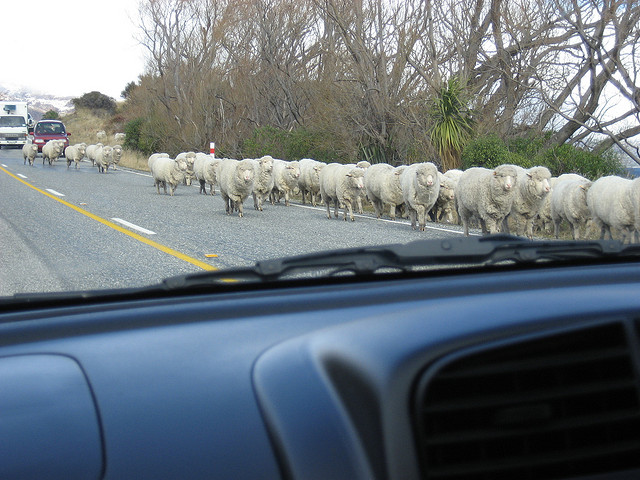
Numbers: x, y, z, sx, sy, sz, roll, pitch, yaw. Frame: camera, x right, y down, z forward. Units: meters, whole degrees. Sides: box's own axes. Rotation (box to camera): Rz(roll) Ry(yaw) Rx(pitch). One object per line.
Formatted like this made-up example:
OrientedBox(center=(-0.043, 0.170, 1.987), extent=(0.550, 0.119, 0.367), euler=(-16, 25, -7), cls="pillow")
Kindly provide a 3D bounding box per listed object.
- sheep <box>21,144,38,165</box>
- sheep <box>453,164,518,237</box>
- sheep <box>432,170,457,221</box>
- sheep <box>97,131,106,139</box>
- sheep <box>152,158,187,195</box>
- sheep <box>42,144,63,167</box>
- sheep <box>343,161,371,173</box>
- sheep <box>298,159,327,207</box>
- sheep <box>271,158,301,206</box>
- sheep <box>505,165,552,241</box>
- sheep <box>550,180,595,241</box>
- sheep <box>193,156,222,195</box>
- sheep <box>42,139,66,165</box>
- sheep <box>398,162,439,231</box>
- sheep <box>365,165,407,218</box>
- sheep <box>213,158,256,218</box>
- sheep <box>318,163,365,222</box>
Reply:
OrientedBox(center=(-14.254, -4.202, 26.154), extent=(0.526, 0.962, 1.609), euler=(-2, 9, -30), cls="sheep")
OrientedBox(center=(3.294, -0.723, 10.382), extent=(0.813, 1.502, 1.887), euler=(-3, 8, -8), cls="sheep")
OrientedBox(center=(2.930, -0.923, 12.718), extent=(0.506, 0.956, 1.446), euler=(2, 6, -2), cls="sheep")
OrientedBox(center=(-22.051, -10.573, 53.676), extent=(0.411, 0.775, 0.908), euler=(3, 33, -4), cls="sheep")
OrientedBox(center=(-4.553, -1.942, 16.124), extent=(1.537, 1.245, 0.679), euler=(13, 16, 36), cls="sheep")
OrientedBox(center=(-13.210, -4.186, 26.303), extent=(0.685, 1.014, 1.405), euler=(-2, 10, -34), cls="sheep")
OrientedBox(center=(0.916, -1.901, 13.678), extent=(0.878, 0.322, 0.497), euler=(0, -3, -5), cls="sheep")
OrientedBox(center=(-0.201, -1.613, 15.269), extent=(0.652, 1.258, 1.592), euler=(-4, 6, -22), cls="sheep")
OrientedBox(center=(-1.047, -1.560, 15.192), extent=(0.684, 1.219, 1.648), euler=(-5, 7, -30), cls="sheep")
OrientedBox(center=(4.162, -0.742, 10.815), extent=(0.540, 1.445, 1.766), euler=(2, 8, -4), cls="sheep")
OrientedBox(center=(5.086, -0.599, 10.505), extent=(0.675, 1.234, 1.642), euler=(-5, 5, 1), cls="sheep")
OrientedBox(center=(-3.400, -1.937, 16.383), extent=(0.547, 1.029, 1.701), euler=(-3, 8, -34), cls="sheep")
OrientedBox(center=(-13.290, -4.352, 26.423), extent=(0.792, 1.225, 1.322), euler=(-3, 10, -37), cls="sheep")
OrientedBox(center=(2.076, -0.939, 11.032), extent=(0.660, 1.298, 1.202), euler=(3, 8, 5), cls="sheep")
OrientedBox(center=(1.700, -1.149, 12.690), extent=(0.718, 1.300, 1.674), euler=(-10, 12, -28), cls="sheep")
OrientedBox(center=(-2.037, -1.249, 12.854), extent=(0.681, 1.341, 2.085), euler=(-1, 9, -27), cls="sheep")
OrientedBox(center=(0.564, -1.131, 12.902), extent=(0.683, 1.416, 1.859), euler=(-7, 10, -28), cls="sheep")
